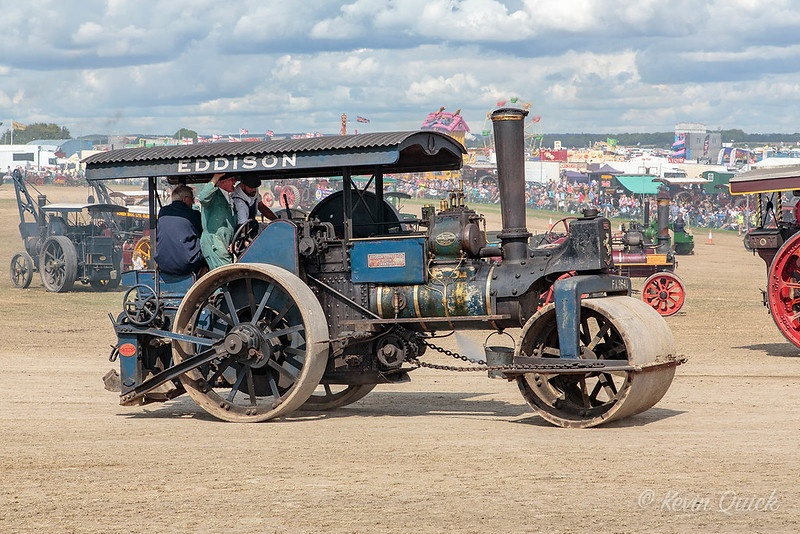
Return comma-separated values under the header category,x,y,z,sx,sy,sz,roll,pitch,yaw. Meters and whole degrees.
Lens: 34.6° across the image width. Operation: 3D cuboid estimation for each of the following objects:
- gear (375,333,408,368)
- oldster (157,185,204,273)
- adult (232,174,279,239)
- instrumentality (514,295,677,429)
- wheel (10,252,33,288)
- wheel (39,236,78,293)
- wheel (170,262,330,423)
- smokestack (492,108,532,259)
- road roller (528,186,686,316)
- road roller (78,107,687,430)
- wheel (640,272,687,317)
category,x,y,z,sx,sy,sz,roll,pitch,yaw
gear,-0.123,1.116,17.393,0.485,0.465,0.137,0,-6,10
oldster,-3.075,-0.531,18.171,0.739,1.191,0.784,3,7,15
adult,-2.115,-0.696,18.289,0.748,1.234,0.704,-3,32,-5
instrumentality,2.544,1.230,16.842,1.596,1.670,1.341,2,6,39
wheel,-9.960,0.098,33.783,0.329,1.047,0.964,-3,3,-34
wheel,-8.758,-0.074,32.966,0.637,1.434,1.131,-6,6,-44
wheel,-2.030,0.988,17.424,1.786,1.732,0.627,-18,-12,21
smokestack,1.445,-1.069,16.919,0.479,2.028,0.453,-1,5,3
road roller,4.716,-0.121,29.453,3.626,2.921,3.608,0,0,8
road roller,0.211,0.057,18.790,9.030,4.402,3.697,-1,1,18
wheel,5.420,0.575,26.594,0.956,0.918,0.368,-3,-5,9
